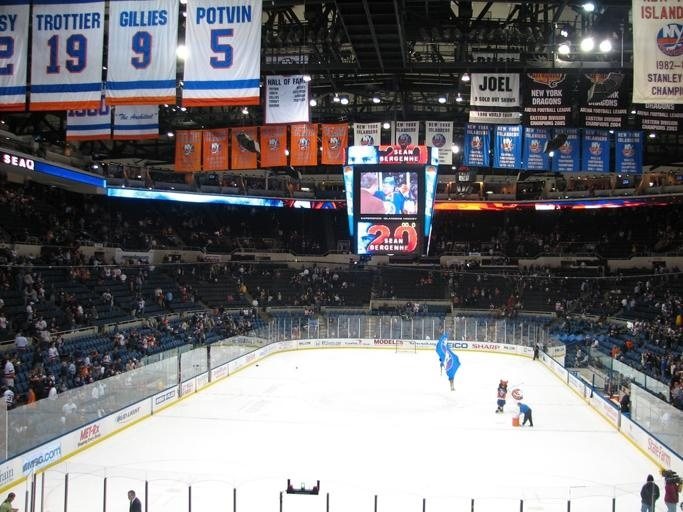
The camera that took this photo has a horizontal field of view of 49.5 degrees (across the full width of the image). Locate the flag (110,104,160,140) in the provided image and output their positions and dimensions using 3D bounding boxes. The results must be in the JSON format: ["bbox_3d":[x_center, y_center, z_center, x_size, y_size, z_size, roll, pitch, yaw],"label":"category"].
[{"bbox_3d":[-9.610,-6.241,34.600,2.125,1.589,0.101,1,-3,0],"label":"flag"}]

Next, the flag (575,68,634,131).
[{"bbox_3d":[11.022,-6.576,31.425,1.985,2.527,2.371,4,13,20],"label":"flag"}]

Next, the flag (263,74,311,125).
[{"bbox_3d":[-2.331,-6.664,31.807,2.174,2.295,0.175,1,-3,0],"label":"flag"}]

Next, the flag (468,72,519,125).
[{"bbox_3d":[6.448,-6.611,31.325,2.375,2.402,0.097,1,-3,-4],"label":"flag"}]

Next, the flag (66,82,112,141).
[{"bbox_3d":[-10.479,-5.909,30.691,2.804,3.099,0.146,0,-14,-3],"label":"flag"}]

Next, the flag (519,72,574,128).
[{"bbox_3d":[8.518,-6.497,30.859,2.288,2.576,0.341,1,5,4],"label":"flag"}]

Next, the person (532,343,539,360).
[{"bbox_3d":[11.166,5.539,42.704,0.319,0.801,0.630,3,12,15],"label":"person"}]
